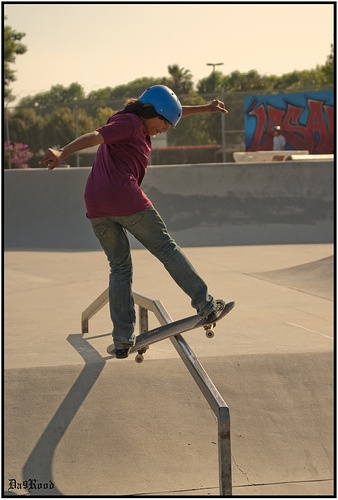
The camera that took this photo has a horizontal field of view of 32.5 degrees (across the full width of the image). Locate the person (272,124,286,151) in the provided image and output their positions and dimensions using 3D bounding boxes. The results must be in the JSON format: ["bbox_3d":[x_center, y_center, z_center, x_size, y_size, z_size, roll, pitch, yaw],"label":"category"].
[{"bbox_3d":[2.363,-2.400,12.417,0.283,0.551,0.751,3,8,10],"label":"person"}]

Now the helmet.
[{"bbox_3d":[-0.040,-0.725,2.892,0.246,0.210,0.166,-2,9,-25],"label":"helmet"}]

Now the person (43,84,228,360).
[{"bbox_3d":[-0.166,-0.084,2.907,0.935,1.469,0.623,-1,8,-14],"label":"person"}]

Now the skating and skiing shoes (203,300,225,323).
[{"bbox_3d":[0.245,0.302,2.948,0.057,0.069,0.162,18,48,29],"label":"skating and skiing shoes"}]

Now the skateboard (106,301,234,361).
[{"bbox_3d":[0.012,0.463,3.264,0.627,0.087,0.147,-23,14,-4],"label":"skateboard"}]
